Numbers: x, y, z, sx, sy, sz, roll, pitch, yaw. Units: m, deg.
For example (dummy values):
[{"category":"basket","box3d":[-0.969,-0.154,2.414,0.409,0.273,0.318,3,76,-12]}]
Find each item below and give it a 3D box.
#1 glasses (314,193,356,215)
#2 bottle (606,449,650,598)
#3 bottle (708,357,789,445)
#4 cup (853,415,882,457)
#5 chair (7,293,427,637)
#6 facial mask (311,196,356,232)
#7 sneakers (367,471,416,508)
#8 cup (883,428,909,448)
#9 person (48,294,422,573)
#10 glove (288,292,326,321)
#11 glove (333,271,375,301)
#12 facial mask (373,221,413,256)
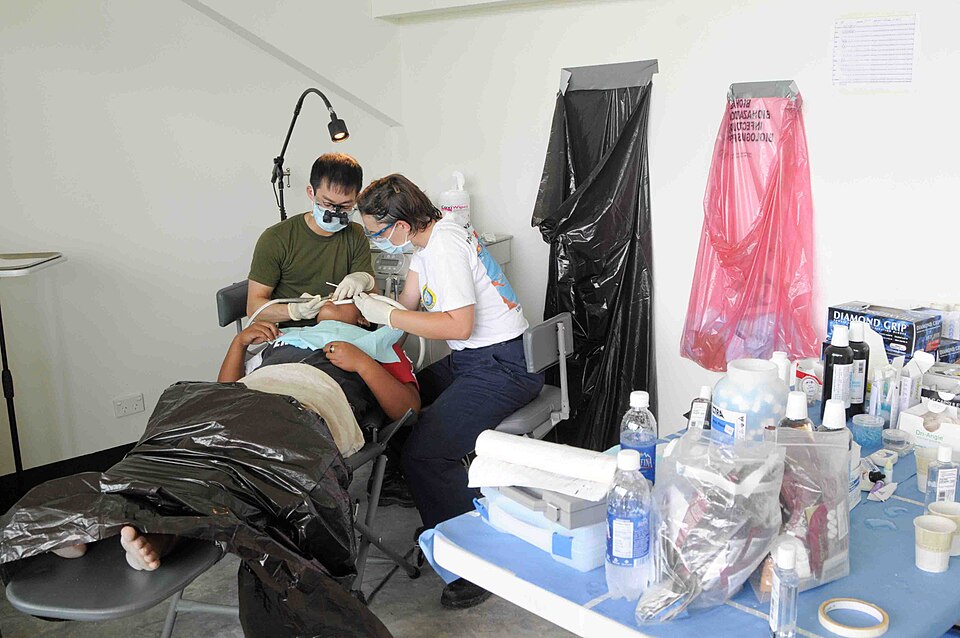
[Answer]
[{"category":"glasses","box3d":[-0.654,-0.535,3.049,0.190,0.103,0.101,-1,12,-13]},{"category":"bottle","box3d":[0.348,0.470,1.569,0.113,0.353,0.075,4,12,10]},{"category":"bottle","box3d":[0.705,0.203,1.901,0.212,0.235,0.215,-6,19,-13]},{"category":"cup","box3d":[1.207,0.350,2.117,0.111,0.122,0.113,-4,8,0]},{"category":"chair","box3d":[-0.798,0.542,2.130,1.180,0.369,0.814,-27,51,-34]},{"category":"facial mask","box3d":[-0.678,-0.478,3.092,0.126,0.089,0.150,-3,31,-23]},{"category":"sneakers","box3d":[-0.430,0.872,3.412,0.175,0.069,0.228,1,3,-18]},{"category":"cup","box3d":[1.284,0.361,2.088,0.054,0.040,0.054,-3,9,0]},{"category":"person","box3d":[-0.704,0.286,2.530,0.614,1.000,0.598,9,1,11]},{"category":"glove","box3d":[-0.770,-0.047,3.027,0.151,0.118,0.095,-16,29,-34]},{"category":"glove","box3d":[-0.565,-0.150,3.037,0.106,0.053,0.172,7,29,34]},{"category":"facial mask","box3d":[-0.371,-0.341,2.919,0.131,0.050,0.124,-18,35,-11]}]
